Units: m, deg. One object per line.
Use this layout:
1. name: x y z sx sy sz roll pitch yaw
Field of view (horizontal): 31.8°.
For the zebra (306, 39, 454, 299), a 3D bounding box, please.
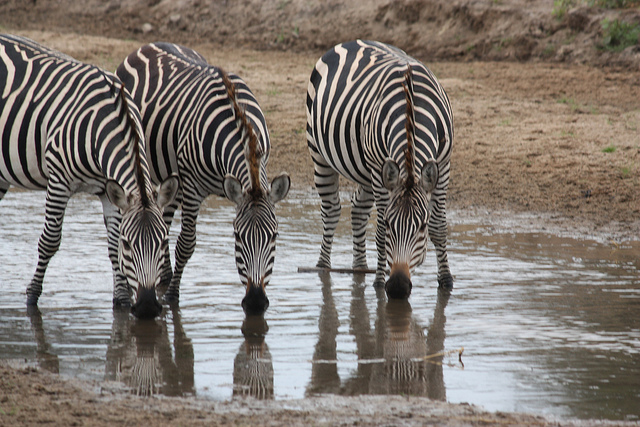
1. zebra: 1.015 -0.739 17.108 1.373 3.661 2.798 -3 10 -28
